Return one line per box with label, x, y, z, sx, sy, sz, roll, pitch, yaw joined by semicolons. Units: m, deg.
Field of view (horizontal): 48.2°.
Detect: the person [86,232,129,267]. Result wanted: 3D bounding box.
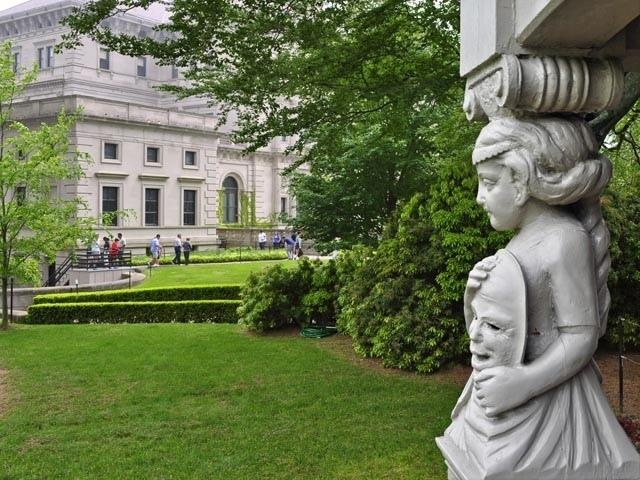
person;-8.144;0.396;27.251;0.940;0.574;1.437;1;6;17
